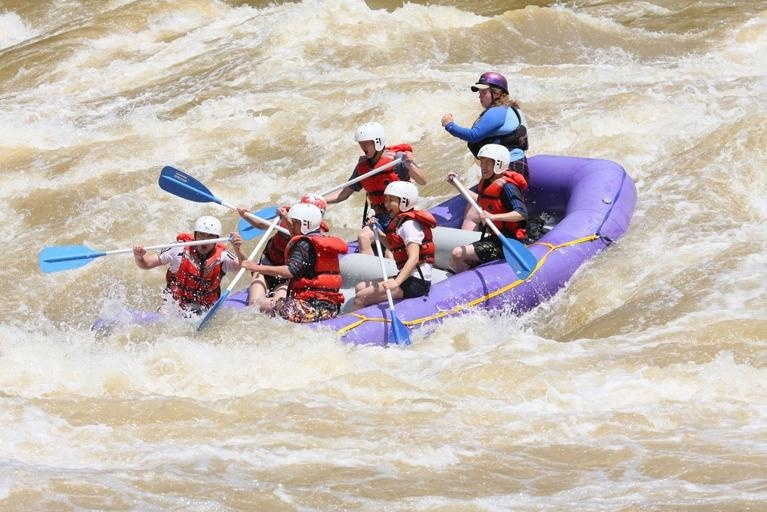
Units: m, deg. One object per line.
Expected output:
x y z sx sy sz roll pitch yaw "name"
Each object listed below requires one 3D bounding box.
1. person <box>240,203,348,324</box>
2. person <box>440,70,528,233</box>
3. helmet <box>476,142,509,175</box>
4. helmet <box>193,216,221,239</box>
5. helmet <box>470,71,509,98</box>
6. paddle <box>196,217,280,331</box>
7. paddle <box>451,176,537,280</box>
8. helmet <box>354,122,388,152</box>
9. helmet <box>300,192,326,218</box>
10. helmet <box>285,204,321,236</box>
-0.904 0.164 10.980 0.787 1.249 1.098 8 45 23 "person"
1.202 -1.291 13.012 1.168 1.838 1.190 -4 21 -34 "person"
1.298 -1.143 11.789 0.459 0.261 0.306 -4 6 -20 "helmet"
-1.976 -0.300 11.273 0.255 0.266 0.222 8 39 -2 "helmet"
1.308 -2.160 12.713 0.483 0.171 0.303 3 8 -8 "helmet"
-1.631 0.219 11.320 0.144 0.215 1.835 1 44 51 "paddle"
1.103 -0.335 11.703 0.388 0.114 1.918 -50 54 2 "paddle"
-0.202 -1.436 12.117 0.415 0.286 0.313 -24 24 -21 "helmet"
-0.808 -0.587 11.274 0.279 0.255 0.300 8 -5 13 "helmet"
-0.838 -0.422 10.966 0.360 0.298 0.308 -22 41 -11 "helmet"
